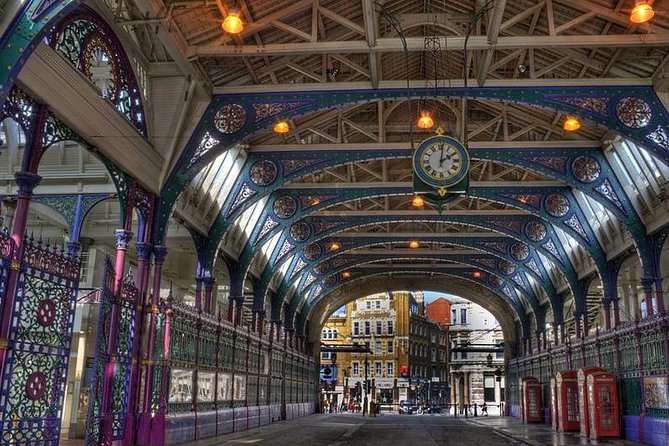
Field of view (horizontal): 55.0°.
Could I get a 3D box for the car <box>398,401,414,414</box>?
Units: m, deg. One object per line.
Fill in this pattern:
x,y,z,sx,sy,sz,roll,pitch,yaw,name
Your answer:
7.186,18.618,65.233,0.926,0.909,1.634,-1,-27,4,car
